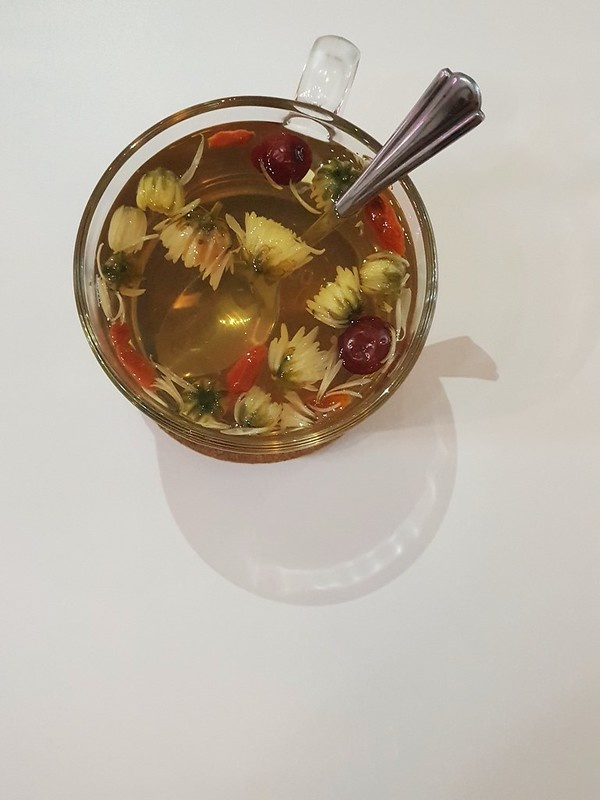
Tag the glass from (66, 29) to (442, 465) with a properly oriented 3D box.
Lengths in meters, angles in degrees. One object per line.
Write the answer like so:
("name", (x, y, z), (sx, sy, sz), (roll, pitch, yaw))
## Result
("glass", (-0.047, -0.193, 1.136), (0.420, 0.201, 0.467), (31, -79, -3))
